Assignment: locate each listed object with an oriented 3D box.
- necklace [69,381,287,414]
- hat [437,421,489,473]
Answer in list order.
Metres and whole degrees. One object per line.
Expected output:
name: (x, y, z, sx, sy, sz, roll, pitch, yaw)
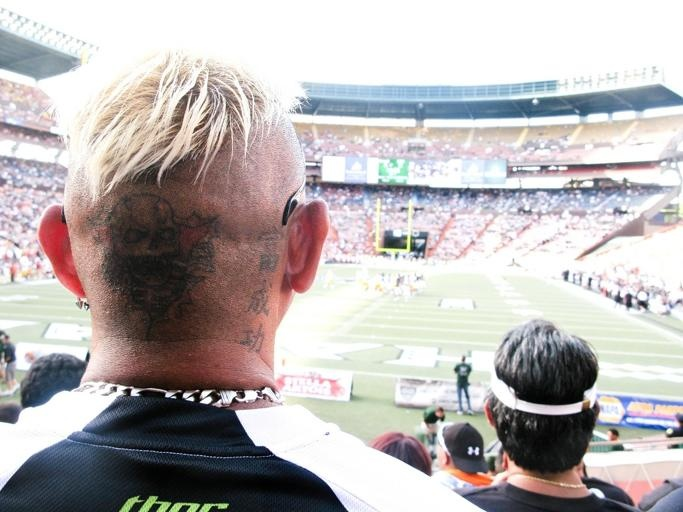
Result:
necklace: (-0.395, 0.345, 1.544, 0.506, 0.035, 0.122, 3, 1, -7)
hat: (0.755, 1.093, 3.723, 0.290, 0.163, 0.420, 2, 16, -10)
